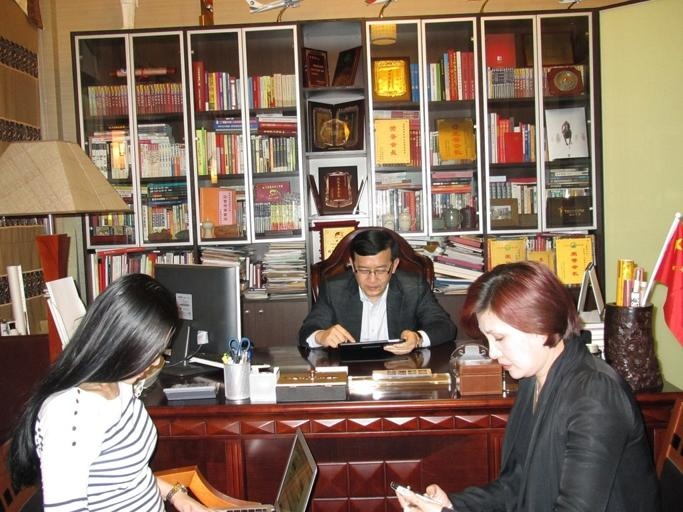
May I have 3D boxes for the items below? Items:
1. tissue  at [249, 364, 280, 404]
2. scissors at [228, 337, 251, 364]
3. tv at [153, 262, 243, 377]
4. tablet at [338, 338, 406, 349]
[{"bbox_3d":[-0.313,0.524,2.561,0.103,0.128,0.189,1,2,-2],"label":"tissue "},{"bbox_3d":[-0.410,0.395,2.608,0.026,0.104,0.103,9,-5,-37],"label":"scissors"},{"bbox_3d":[-0.612,0.296,2.719,0.425,0.415,0.234,3,14,14],"label":"tv"},{"bbox_3d":[0.147,0.413,2.994,0.427,0.030,0.235,2,-5,-25],"label":"tablet"}]
